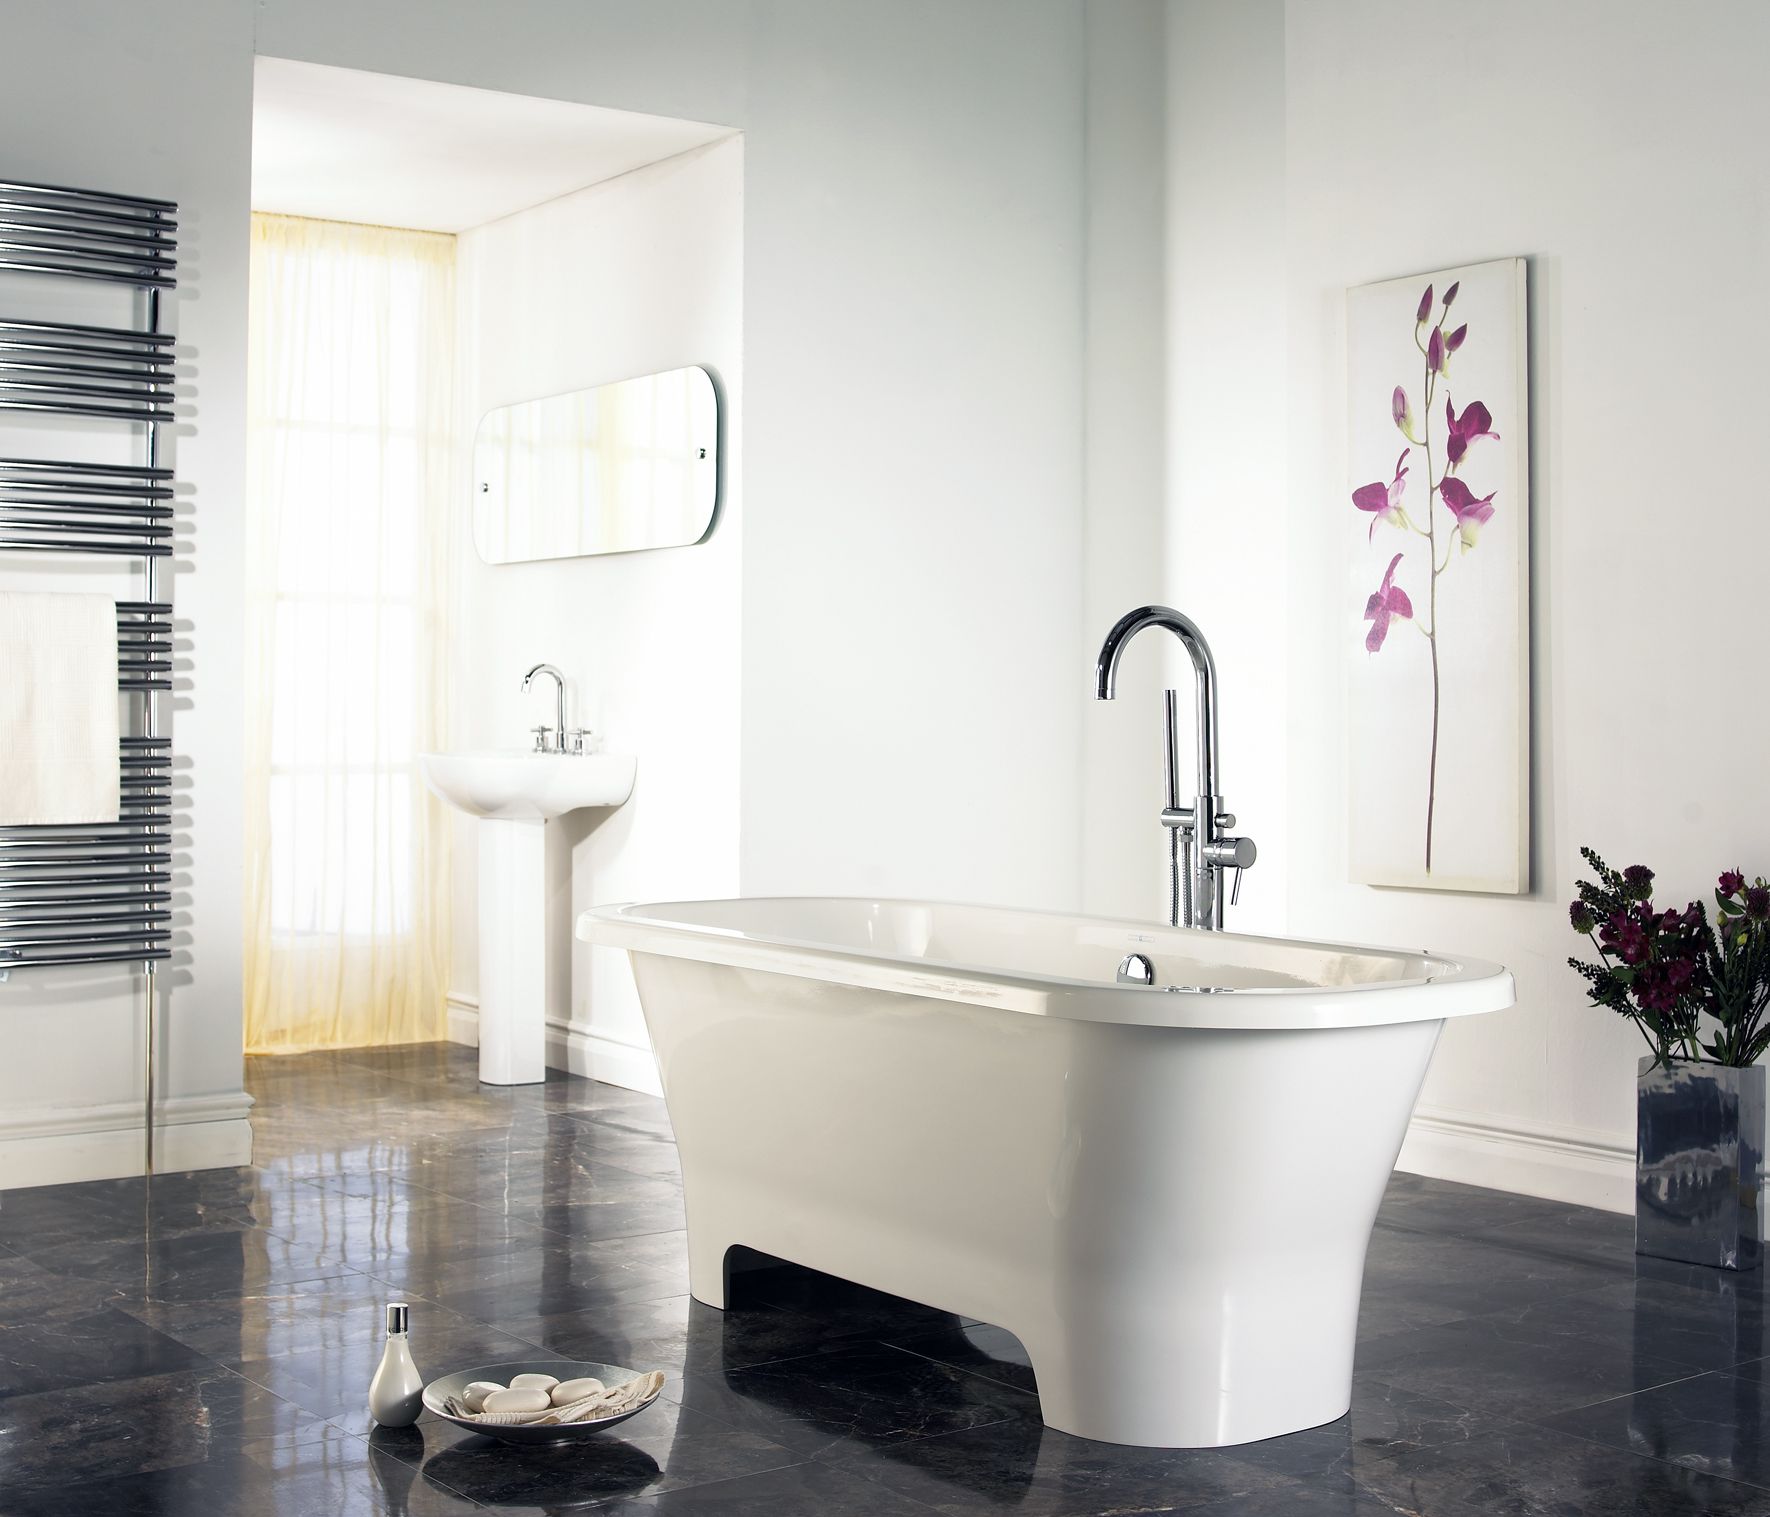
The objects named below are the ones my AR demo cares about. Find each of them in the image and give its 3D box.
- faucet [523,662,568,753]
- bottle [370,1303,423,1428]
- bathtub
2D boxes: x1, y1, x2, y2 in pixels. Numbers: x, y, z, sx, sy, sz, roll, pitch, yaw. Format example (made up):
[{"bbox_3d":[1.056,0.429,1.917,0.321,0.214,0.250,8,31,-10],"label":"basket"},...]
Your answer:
[{"bbox_3d":[-1.082,-0.165,5.147,0.120,0.273,0.422,0,5,-18],"label":"faucet"},{"bbox_3d":[-0.706,0.860,2.328,0.070,0.191,0.121,0,5,-17],"label":"bottle"},{"bbox_3d":[0.221,0.629,2.811,1.627,0.759,1.086,4,5,27],"label":"bathtub"}]
